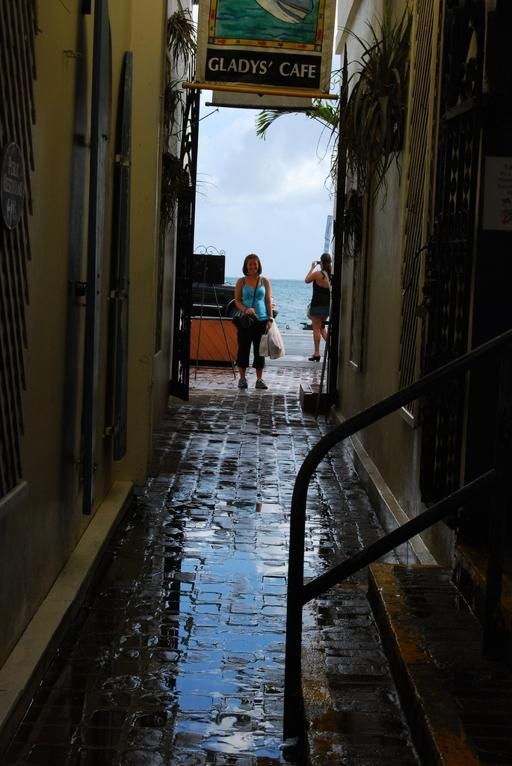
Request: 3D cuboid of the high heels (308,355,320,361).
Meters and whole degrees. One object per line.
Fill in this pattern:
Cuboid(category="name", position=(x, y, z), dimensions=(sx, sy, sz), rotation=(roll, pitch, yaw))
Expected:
Cuboid(category="high heels", position=(1.337, -0.571, 12.576), dimensions=(0.210, 0.122, 0.091), rotation=(6, 5, 20))

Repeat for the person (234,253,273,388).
Cuboid(category="person", position=(-0.032, -1.089, 9.398), dimensions=(0.636, 2.396, 1.197), rotation=(-1, -2, 1))

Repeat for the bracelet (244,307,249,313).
Cuboid(category="bracelet", position=(-0.138, -1.192, 9.120), dimensions=(0.074, 0.028, 0.092), rotation=(18, 19, -14))

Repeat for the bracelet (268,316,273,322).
Cuboid(category="bracelet", position=(0.260, -1.088, 9.419), dimensions=(0.064, 0.099, 0.075), rotation=(1, 9, -12))

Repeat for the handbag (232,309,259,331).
Cuboid(category="handbag", position=(-0.175, -1.096, 9.283), dimensions=(0.305, 0.463, 0.256), rotation=(-1, 18, 0))
